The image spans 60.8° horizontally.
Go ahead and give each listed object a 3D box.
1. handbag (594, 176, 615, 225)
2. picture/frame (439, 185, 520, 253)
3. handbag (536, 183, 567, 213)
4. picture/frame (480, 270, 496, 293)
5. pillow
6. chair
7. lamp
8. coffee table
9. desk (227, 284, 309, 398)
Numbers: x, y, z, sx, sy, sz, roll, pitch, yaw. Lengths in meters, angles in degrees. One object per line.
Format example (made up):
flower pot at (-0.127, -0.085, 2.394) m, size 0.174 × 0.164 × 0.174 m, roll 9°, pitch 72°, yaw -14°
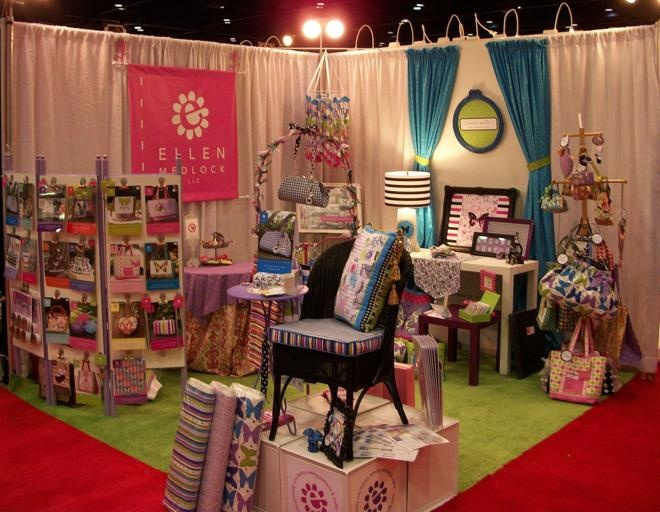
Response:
handbag at (2.299, -0.461, 4.726) m, size 0.125 × 0.380 × 0.280 m, roll 3°, pitch 10°, yaw 24°
picture/frame at (1.518, -0.367, 5.588) m, size 0.062 × 0.600 × 0.537 m, roll 10°, pitch -3°, yaw -43°
handbag at (1.986, -0.516, 5.035) m, size 0.197 × 0.294 × 0.132 m, roll 7°, pitch 18°, yaw 36°
picture/frame at (1.439, 0.225, 5.135) m, size 0.137 × 0.201 × 0.158 m, roll 2°, pitch 9°, yaw 15°
pillow at (0.199, 0.135, 3.373) m, size 0.277 × 0.597 × 0.580 m, roll 4°, pitch 1°, yaw -23°
chair at (0.048, 0.477, 3.275) m, size 0.692 × 1.136 × 0.739 m, roll 0°, pitch 2°, yaw -23°
lamp at (0.800, -0.484, 5.818) m, size 0.432 × 0.864 × 0.499 m, roll 2°, pitch 13°, yaw 17°
coffee table at (-1.188, 0.544, 5.438) m, size 0.720 × 0.874 × 0.770 m, roll 7°, pitch 7°, yaw 39°
desk at (-0.472, 0.494, 4.097) m, size 0.657 × 0.984 × 0.767 m, roll 0°, pitch 2°, yaw -5°
